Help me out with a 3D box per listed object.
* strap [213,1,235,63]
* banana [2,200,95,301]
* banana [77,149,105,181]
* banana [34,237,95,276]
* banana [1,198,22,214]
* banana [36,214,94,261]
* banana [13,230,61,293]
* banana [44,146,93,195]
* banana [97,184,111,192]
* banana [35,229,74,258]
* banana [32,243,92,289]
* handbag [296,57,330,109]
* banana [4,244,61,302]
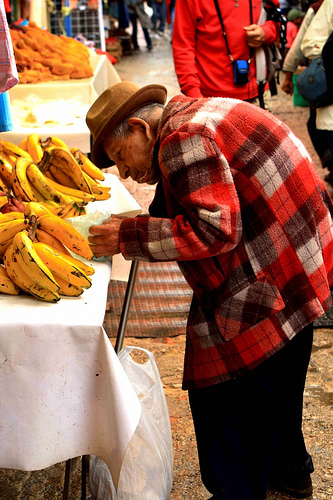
[{"bbox_3d":[0.391,-1.535,3.111,0.059,0.393,0.052,-24,27,7],"label":"strap"},{"bbox_3d":[-0.398,-0.004,1.336,0.243,0.135,0.310,-33,85,-32],"label":"banana"},{"bbox_3d":[-0.368,-0.417,2.195,0.198,0.056,0.065,48,16,-18],"label":"banana"},{"bbox_3d":[-0.309,0.017,1.313,0.158,0.032,0.050,30,23,-9],"label":"banana"},{"bbox_3d":[-0.541,-0.150,1.529,0.049,0.058,0.045,-6,9,1],"label":"banana"},{"bbox_3d":[-0.323,-0.034,1.384,0.198,0.052,0.063,35,12,-16],"label":"banana"},{"bbox_3d":[-0.368,0.036,1.237,0.065,0.046,0.220,-8,46,-29],"label":"banana"},{"bbox_3d":[-0.391,-0.345,1.976,0.101,0.296,0.093,-2,48,38],"label":"banana"},{"bbox_3d":[-0.296,-0.295,2.088,0.076,0.019,0.024,15,42,13],"label":"banana"},{"bbox_3d":[-0.345,-0.024,1.343,0.119,0.026,0.038,31,29,-25],"label":"banana"},{"bbox_3d":[-0.306,0.047,1.273,0.165,0.044,0.054,38,18,6],"label":"banana"},{"bbox_3d":[1.248,-1.451,3.822,0.189,0.418,0.344,-1,40,-12],"label":"handbag"},{"bbox_3d":[-0.373,0.068,1.228,0.169,0.045,0.057,46,38,12],"label":"banana"}]
